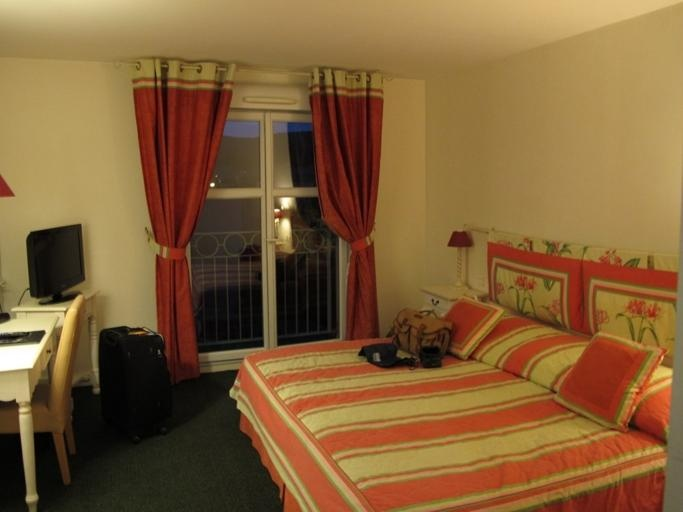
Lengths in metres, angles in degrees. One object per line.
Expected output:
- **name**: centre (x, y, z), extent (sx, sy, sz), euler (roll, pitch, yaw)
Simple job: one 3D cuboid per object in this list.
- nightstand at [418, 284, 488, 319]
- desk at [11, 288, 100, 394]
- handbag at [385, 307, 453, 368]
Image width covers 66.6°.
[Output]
- **nightstand**: centre (1.056, 0.392, 4.955), extent (0.276, 0.422, 0.418), euler (1, 7, -20)
- **desk**: centre (-2.117, 0.603, 3.852), extent (0.308, 0.748, 0.764), euler (0, 15, -5)
- **handbag**: centre (0.661, 0.761, 4.115), extent (0.321, 0.418, 0.530), euler (16, 2, -35)
